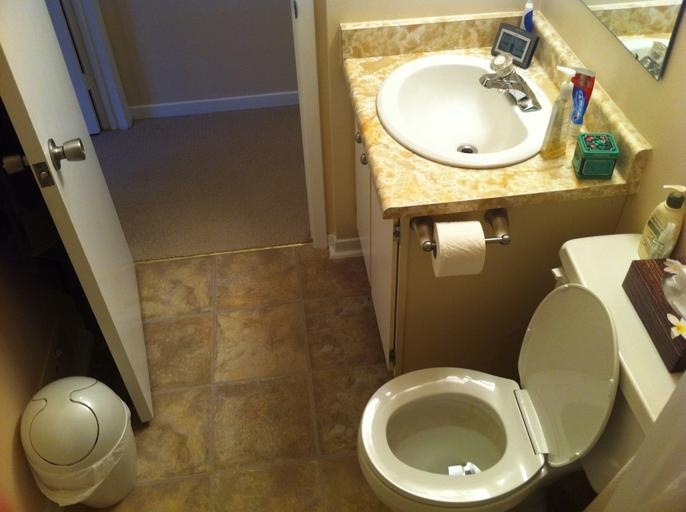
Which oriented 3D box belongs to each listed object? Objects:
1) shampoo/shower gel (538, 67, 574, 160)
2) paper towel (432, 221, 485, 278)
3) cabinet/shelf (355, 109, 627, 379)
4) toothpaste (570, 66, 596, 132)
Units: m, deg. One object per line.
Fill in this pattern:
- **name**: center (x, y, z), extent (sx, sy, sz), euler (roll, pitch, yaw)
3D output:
- **shampoo/shower gel**: center (0.649, -0.426, 1.546), extent (0.071, 0.238, 0.133), euler (13, 40, 20)
- **paper towel**: center (0.332, -0.021, 1.544), extent (0.157, 0.158, 0.140), euler (-1, 32, -6)
- **cabinet/shelf**: center (0.412, -0.152, 2.238), extent (0.694, 1.147, 1.173), euler (-3, 47, -5)
- **toothpaste**: center (0.721, -0.482, 1.579), extent (0.086, 0.176, 0.045), euler (21, 26, 40)
